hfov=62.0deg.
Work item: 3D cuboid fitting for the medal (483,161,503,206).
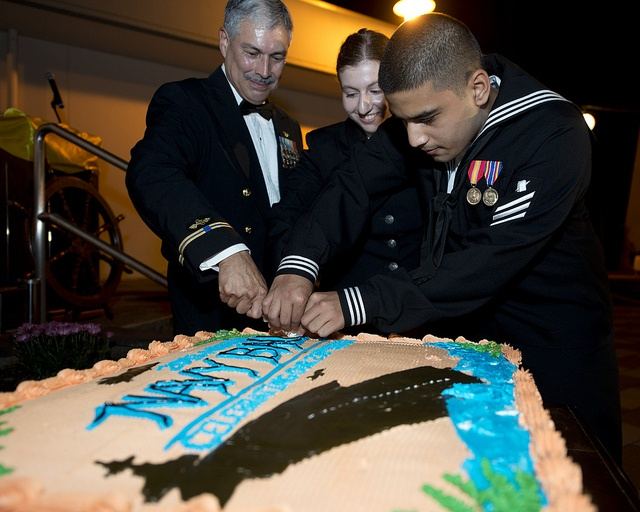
[{"bbox_3d":[0.661,-0.280,2.054,0.066,0.171,0.067,5,15,21],"label":"medal"}]
